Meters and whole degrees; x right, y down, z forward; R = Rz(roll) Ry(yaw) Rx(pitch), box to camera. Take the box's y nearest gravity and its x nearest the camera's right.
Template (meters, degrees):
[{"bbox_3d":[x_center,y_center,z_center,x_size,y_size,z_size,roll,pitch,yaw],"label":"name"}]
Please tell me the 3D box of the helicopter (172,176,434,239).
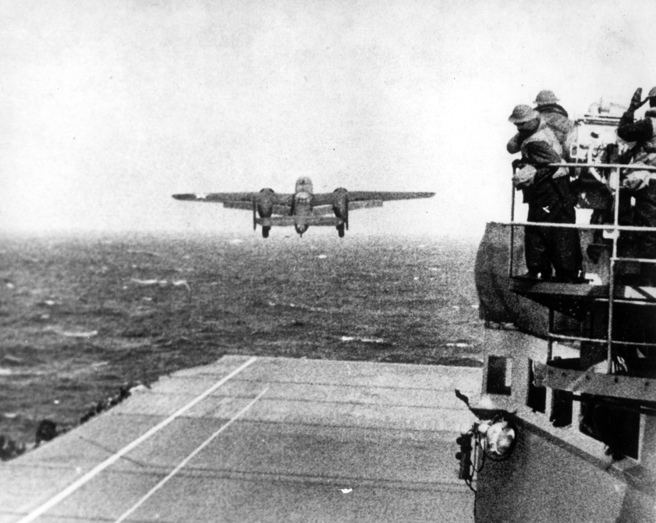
[{"bbox_3d":[-0.647,-1.183,16.630,4.999,1.409,1.674,-4,-2,6],"label":"helicopter"}]
